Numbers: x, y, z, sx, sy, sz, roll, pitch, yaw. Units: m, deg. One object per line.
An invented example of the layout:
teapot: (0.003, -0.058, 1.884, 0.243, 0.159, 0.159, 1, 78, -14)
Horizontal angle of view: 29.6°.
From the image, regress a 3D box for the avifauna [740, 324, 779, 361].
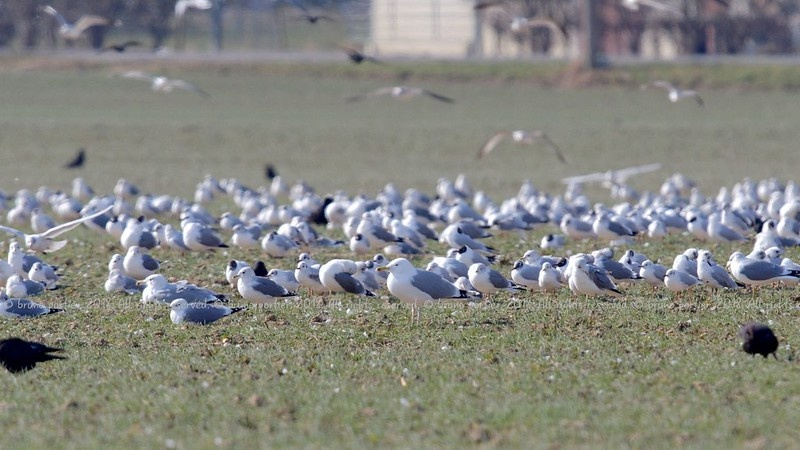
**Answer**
avifauna: (8.833, 2.839, 37.054, 0.888, 0.802, 0.331, 2, 13, 7)
